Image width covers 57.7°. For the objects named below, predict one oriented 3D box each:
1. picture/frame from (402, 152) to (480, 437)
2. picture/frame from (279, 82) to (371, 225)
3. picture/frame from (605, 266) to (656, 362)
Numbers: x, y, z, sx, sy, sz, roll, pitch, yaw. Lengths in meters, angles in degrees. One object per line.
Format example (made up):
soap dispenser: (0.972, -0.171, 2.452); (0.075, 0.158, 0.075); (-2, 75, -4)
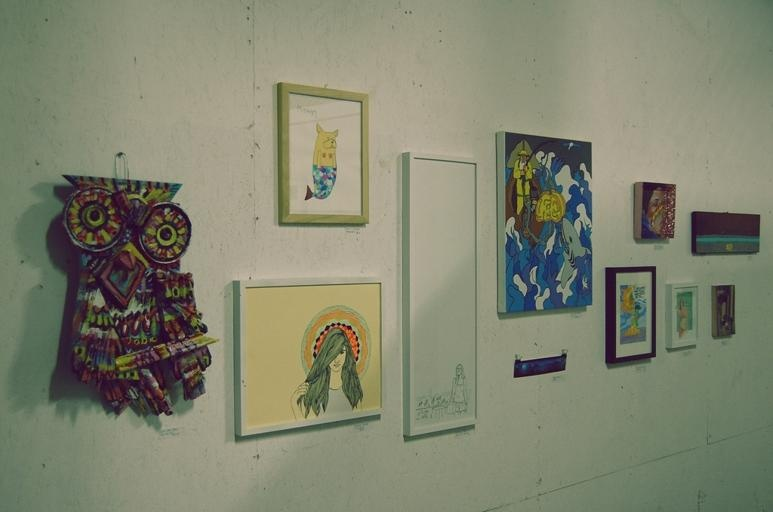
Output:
picture/frame: (0.211, 0.117, 2.671); (0.310, 1.034, 0.071); (1, -5, -22)
picture/frame: (-0.226, -0.361, 2.447); (0.453, 0.689, 0.041); (0, -1, -30)
picture/frame: (1.043, 0.249, 3.031); (0.358, 0.548, 0.053); (-4, 5, -34)
